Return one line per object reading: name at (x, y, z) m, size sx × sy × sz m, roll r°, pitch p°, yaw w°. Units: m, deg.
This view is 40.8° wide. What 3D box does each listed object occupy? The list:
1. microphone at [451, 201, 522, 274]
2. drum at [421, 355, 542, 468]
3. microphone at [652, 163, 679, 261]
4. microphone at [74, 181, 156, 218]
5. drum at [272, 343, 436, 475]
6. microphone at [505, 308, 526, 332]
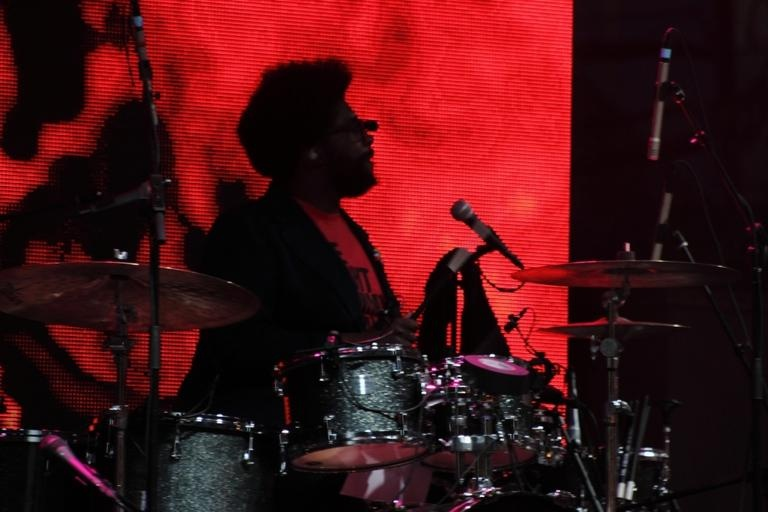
microphone at (0.625, -0.106, 6.369) m, size 0.676 × 0.139 × 0.144 m, roll 35°, pitch 0°, yaw -7°
drum at (0.567, 0.835, 5.406) m, size 0.752 × 0.436 × 0.659 m, roll -12°, pitch -19°, yaw 35°
microphone at (1.781, -0.259, 6.468) m, size 0.145 × 0.644 × 0.117 m, roll 4°, pitch 2°, yaw -40°
microphone at (-1.286, -0.288, 5.063) m, size 0.423 × 0.127 × 0.159 m, roll -5°, pitch -11°, yaw 22°
drum at (-0.199, 0.801, 5.335) m, size 0.806 × 0.418 × 0.739 m, roll -7°, pitch -18°, yaw -2°
microphone at (0.841, 0.408, 6.540) m, size 0.064 × 0.152 × 0.104 m, roll 46°, pitch -28°, yaw -16°
